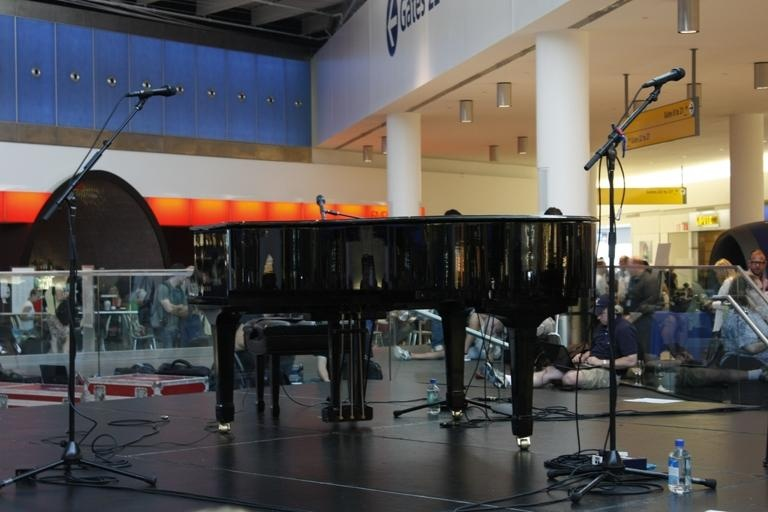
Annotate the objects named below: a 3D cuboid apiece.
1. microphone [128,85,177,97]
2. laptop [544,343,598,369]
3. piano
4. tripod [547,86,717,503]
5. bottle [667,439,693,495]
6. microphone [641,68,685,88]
[{"bbox_3d":[-2.110,-1.495,9.100,0.409,0.113,0.319,-2,4,8],"label":"microphone"},{"bbox_3d":[2.063,1.160,11.456,0.340,0.236,0.359,-3,11,44],"label":"laptop"},{"bbox_3d":[0.128,0.722,9.510,3.677,2.236,0.674,-3,5,4],"label":"piano"},{"bbox_3d":[1.962,0.307,8.593,1.506,3.571,1.258,2,15,17],"label":"tripod"},{"bbox_3d":[2.550,1.799,8.610,0.196,0.460,0.250,-2,5,15],"label":"bottle"},{"bbox_3d":[2.402,-1.541,8.690,0.420,0.172,0.218,-5,5,-22],"label":"microphone"}]
